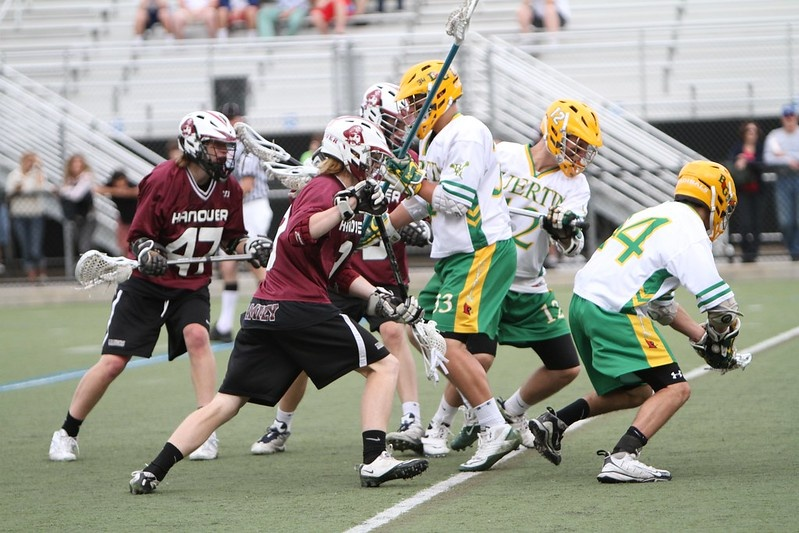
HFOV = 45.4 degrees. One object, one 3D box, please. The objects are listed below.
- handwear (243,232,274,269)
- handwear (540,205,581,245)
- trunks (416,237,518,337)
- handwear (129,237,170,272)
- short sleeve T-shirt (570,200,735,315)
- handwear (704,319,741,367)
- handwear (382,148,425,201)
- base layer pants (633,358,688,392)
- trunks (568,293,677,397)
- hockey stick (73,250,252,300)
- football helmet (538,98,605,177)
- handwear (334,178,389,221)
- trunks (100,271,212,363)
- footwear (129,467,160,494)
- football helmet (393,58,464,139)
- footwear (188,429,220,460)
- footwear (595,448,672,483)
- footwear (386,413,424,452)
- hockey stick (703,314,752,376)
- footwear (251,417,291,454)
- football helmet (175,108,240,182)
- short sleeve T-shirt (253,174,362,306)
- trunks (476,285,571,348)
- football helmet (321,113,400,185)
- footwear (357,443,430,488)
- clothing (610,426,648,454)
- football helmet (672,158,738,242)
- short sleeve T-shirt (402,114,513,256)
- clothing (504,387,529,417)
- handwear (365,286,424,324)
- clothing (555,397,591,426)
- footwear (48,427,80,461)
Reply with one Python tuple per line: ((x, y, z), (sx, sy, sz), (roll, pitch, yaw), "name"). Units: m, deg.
((-1.042, -0.118, 7.076), (0.183, 0.254, 0.119), (-7, 7, -11), "handwear")
((1.149, -0.291, 6.761), (0.227, 0.111, 0.233), (14, -34, 24), "handwear")
((0.494, 0.160, 6.953), (0.575, 0.871, 0.882), (10, -10, -10), "trunks")
((-1.804, -0.070, 6.873), (0.254, 0.266, 0.187), (-4, 8, -18), "handwear")
((1.679, -0.054, 6.331), (0.792, 0.634, 0.805), (12, 7, -20), "short sleeve T-shirt")
((2.166, 0.506, 6.382), (0.189, 0.305, 0.185), (-15, 36, 0), "handwear")
((0.028, -0.630, 6.529), (0.272, 0.276, 0.115), (-48, 22, -23), "handwear")
((1.741, 0.734, 6.304), (0.222, 0.103, 0.241), (-22, -30, 18), "base layer pants")
((1.515, 0.516, 6.421), (0.341, 0.557, 0.574), (-24, -1, -30), "trunks")
((-1.777, -0.024, 7.461), (1.453, 0.335, 0.317), (-4, 27, -32), "hockey stick")
((1.247, -0.916, 6.876), (0.505, 0.502, 0.410), (17, 15, 26), "football helmet")
((-0.238, -0.415, 6.152), (0.309, 0.223, 0.146), (-19, -12, -27), "handwear")
((-1.778, 0.327, 7.186), (0.825, 0.714, 0.367), (5, -8, -21), "trunks")
((-1.684, 1.397, 6.270), (0.185, 0.164, 0.145), (-4, 8, -18), "footwear")
((0.167, -1.207, 6.990), (0.552, 0.535, 0.425), (-19, 2, -5), "football helmet")
((-1.411, 1.314, 7.028), (0.154, 0.240, 0.347), (-1, -11, 16), "footwear")
((1.510, 1.312, 6.335), (0.559, 0.264, 0.189), (1, -3, -3), "footwear")
((0.074, 1.230, 7.104), (0.157, 0.262, 0.466), (-11, -3, 6), "footwear")
((2.259, 0.612, 6.534), (0.297, 0.310, 0.169), (-8, -25, 41), "hockey stick")
((-0.926, 1.288, 7.243), (0.142, 0.174, 0.382), (15, 7, 32), "footwear")
((-1.438, -0.908, 7.006), (0.435, 0.450, 0.377), (10, 7, 12), "football helmet")
((-0.562, -0.115, 6.596), (0.789, 0.920, 0.754), (10, -7, -7), "short sleeve T-shirt")
((0.971, 0.330, 7.165), (0.564, 0.413, 0.298), (-11, 13, 5), "trunks")
((-0.304, -0.779, 6.434), (0.501, 0.412, 0.394), (12, 10, -10), "football helmet")
((-0.042, 1.337, 6.351), (0.491, 0.247, 0.197), (-18, -27, 0), "footwear")
((1.531, 1.138, 6.269), (0.154, 0.201, 0.212), (36, -28, -28), "clothing")
((2.083, -0.464, 6.612), (0.525, 0.566, 0.404), (5, 3, -34), "football helmet")
((0.402, -0.594, 6.945), (0.744, 1.070, 1.006), (-7, 8, -19), "short sleeve T-shirt")
((0.856, 1.020, 7.239), (0.216, 0.224, 0.127), (15, 2, -7), "clothing")
((-0.019, 0.262, 6.476), (0.313, 0.159, 0.234), (16, 18, -11), "handwear")
((1.225, 1.006, 6.652), (0.243, 0.147, 0.112), (-36, 4, 1), "clothing")
((-2.464, 1.291, 6.988), (0.216, 0.219, 0.189), (-5, 8, -26), "footwear")
